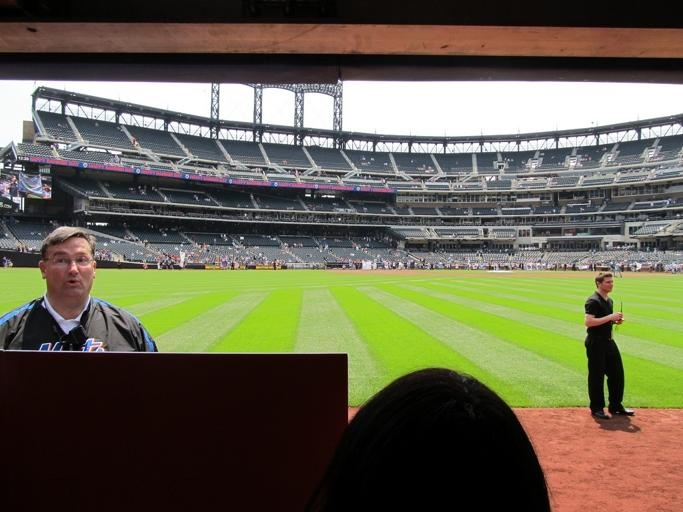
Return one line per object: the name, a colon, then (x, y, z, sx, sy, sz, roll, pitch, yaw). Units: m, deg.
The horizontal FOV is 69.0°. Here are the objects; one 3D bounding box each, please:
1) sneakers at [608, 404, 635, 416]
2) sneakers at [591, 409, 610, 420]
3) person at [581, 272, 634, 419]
sneakers: (3.115, 1.708, 5.549, 0.289, 0.094, 0.093, -6, -6, 13)
sneakers: (2.815, 1.709, 5.385, 0.215, 0.070, 0.074, -2, -2, 24)
person: (2.993, 0.967, 5.537, 0.452, 1.569, 0.627, -1, -3, 28)
